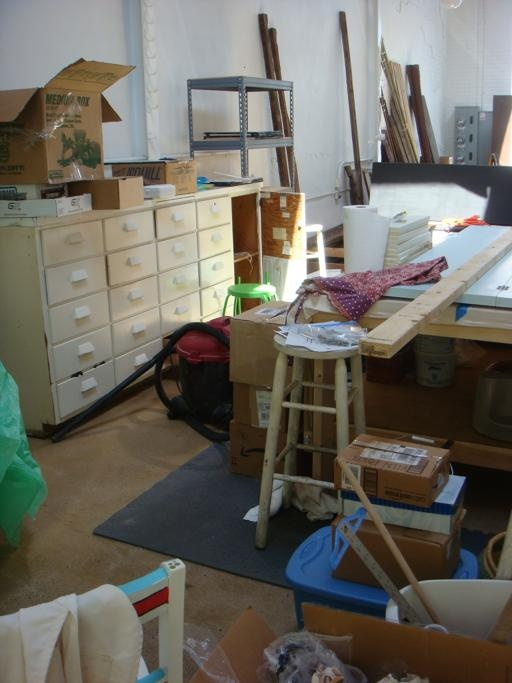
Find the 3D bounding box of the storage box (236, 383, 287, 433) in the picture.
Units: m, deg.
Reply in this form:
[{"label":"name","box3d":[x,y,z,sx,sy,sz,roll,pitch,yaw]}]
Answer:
[{"label":"storage box","box3d":[0.026,0.255,2.403,0.195,0.192,0.199,6,16,10]}]

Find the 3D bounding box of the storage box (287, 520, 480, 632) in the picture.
[{"label":"storage box","box3d":[0.304,0.591,1.391,0.410,0.172,0.287,3,20,4]}]

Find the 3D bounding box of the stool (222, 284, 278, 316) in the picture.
[{"label":"stool","box3d":[-0.034,-0.247,3.718,0.313,0.304,0.304,-2,20,-7]}]

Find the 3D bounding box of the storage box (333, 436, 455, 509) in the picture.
[{"label":"storage box","box3d":[0.343,0.329,1.388,0.245,0.119,0.218,5,16,24]}]

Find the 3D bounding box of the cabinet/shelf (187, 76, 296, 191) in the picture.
[{"label":"cabinet/shelf","box3d":[-0.152,-1.775,4.678,0.487,1.118,1.319,15,29,27]}]

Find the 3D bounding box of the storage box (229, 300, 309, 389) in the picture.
[{"label":"storage box","box3d":[0.062,0.106,2.463,0.256,0.340,0.470,9,26,19]}]

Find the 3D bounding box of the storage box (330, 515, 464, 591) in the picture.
[{"label":"storage box","box3d":[0.330,0.499,1.300,0.205,0.102,0.211,5,13,29]}]
